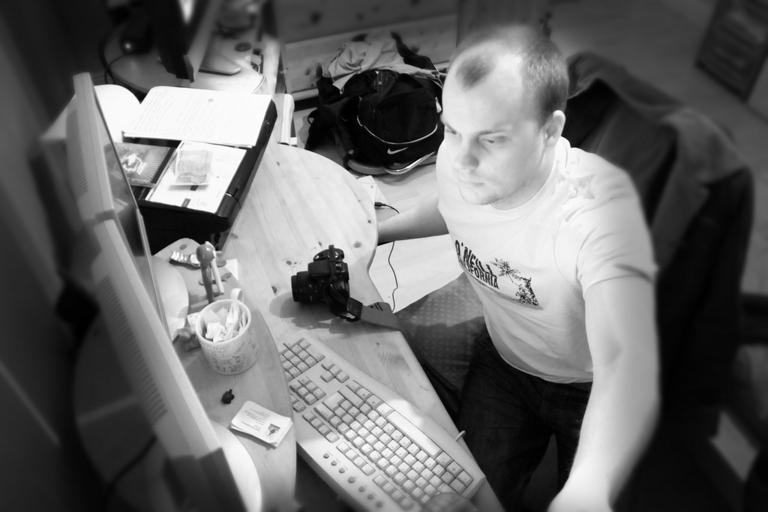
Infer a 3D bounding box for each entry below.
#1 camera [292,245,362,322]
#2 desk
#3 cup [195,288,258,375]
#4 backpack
[{"bbox_3d":[-0.125,0.069,1.393,0.158,0.097,0.216,-4,78,1],"label":"camera"},{"bbox_3d":[-0.306,0.092,1.397,0.750,0.269,1.141,-19,66,-25],"label":"desk"},{"bbox_3d":[-0.322,0.169,1.296,0.119,0.159,0.164,-5,48,-7],"label":"cup"},{"bbox_3d":[-0.022,-0.607,2.397,0.563,0.218,0.577,-28,88,-8],"label":"backpack"}]
